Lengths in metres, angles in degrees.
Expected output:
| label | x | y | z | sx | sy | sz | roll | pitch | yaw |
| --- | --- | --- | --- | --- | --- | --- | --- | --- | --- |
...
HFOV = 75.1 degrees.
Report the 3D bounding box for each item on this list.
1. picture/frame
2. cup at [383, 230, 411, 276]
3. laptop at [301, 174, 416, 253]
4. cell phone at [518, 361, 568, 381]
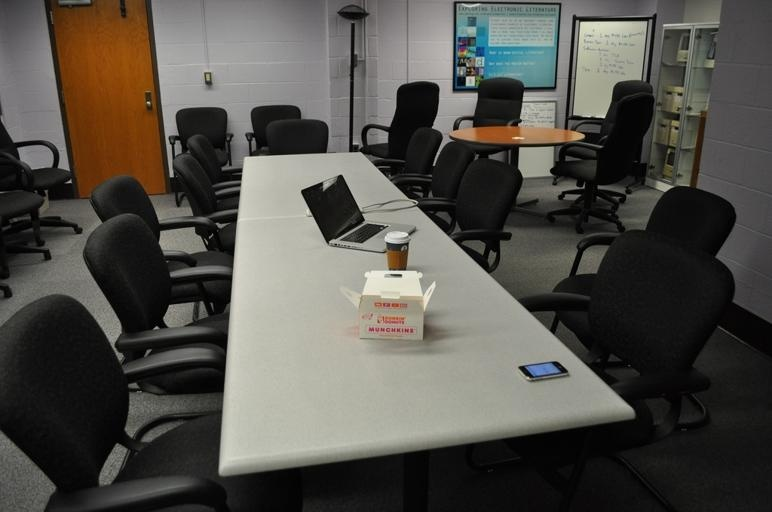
| label | x | y | z | sx | sy | sz | roll | pitch | yaw |
| --- | --- | --- | --- | --- | --- | --- | --- | --- | --- |
| picture/frame | 1.544 | -2.836 | 6.686 | 1.537 | 1.090 | 0.026 | -1 | 15 | -8 |
| cup | 0.048 | -0.003 | 2.229 | 0.177 | 0.159 | 0.176 | -1 | 10 | 0 |
| laptop | -0.130 | -0.236 | 2.589 | 0.591 | 0.288 | 0.573 | -3 | 20 | -8 |
| cell phone | 0.531 | 0.382 | 1.677 | 0.114 | 0.015 | 0.067 | -4 | 20 | -11 |
